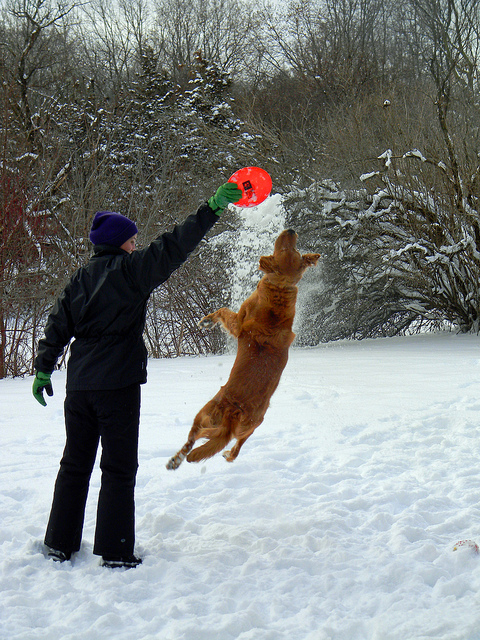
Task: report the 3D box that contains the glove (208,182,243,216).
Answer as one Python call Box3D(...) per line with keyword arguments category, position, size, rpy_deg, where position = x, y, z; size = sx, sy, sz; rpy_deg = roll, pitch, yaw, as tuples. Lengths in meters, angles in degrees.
Box3D(category="glove", position=(-0.084, -0.679, 4.249), size=(0.146, 0.184, 0.196), rpy_deg=(6, 10, 45))

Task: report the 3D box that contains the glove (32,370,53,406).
Box3D(category="glove", position=(-1.270, 0.426, 4.713), size=(0.080, 0.217, 0.162), rpy_deg=(4, -4, 14))

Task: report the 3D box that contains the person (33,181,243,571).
Box3D(category="person", position=(-0.705, 0.331, 4.431), size=(1.172, 2.088, 0.681), rpy_deg=(-1, 7, 0))

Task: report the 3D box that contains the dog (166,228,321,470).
Box3D(category="dog", position=(0.186, 0.236, 4.730), size=(0.422, 1.610, 0.926), rpy_deg=(30, 17, 22))

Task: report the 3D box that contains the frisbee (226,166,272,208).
Box3D(category="frisbee", position=(0.047, -0.772, 4.366), size=(0.285, 0.231, 0.255), rpy_deg=(-3, 7, -16))
